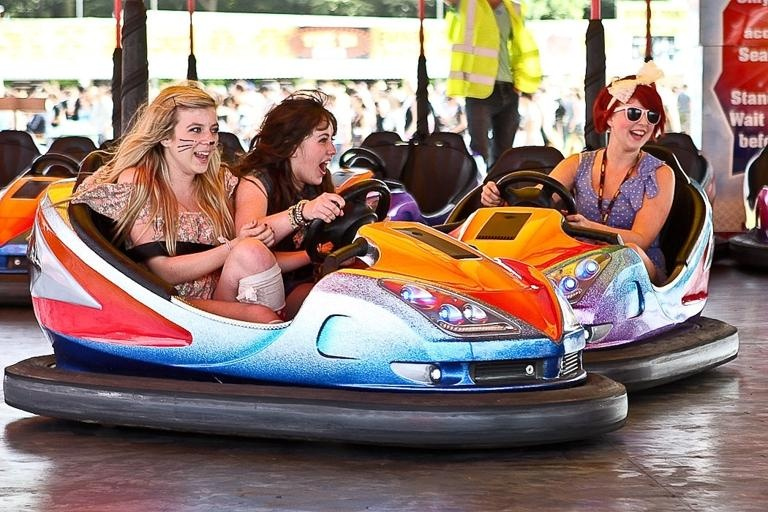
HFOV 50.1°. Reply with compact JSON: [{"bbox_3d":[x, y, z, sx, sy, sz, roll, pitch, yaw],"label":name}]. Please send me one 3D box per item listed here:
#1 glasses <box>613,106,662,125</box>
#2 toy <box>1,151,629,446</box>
[{"bbox_3d":[0.828,-0.501,2.931,0.162,0.068,0.050,0,10,-4],"label":"glasses"},{"bbox_3d":[-0.240,0.115,2.145,1.214,0.353,0.744,0,-2,18],"label":"toy"}]
